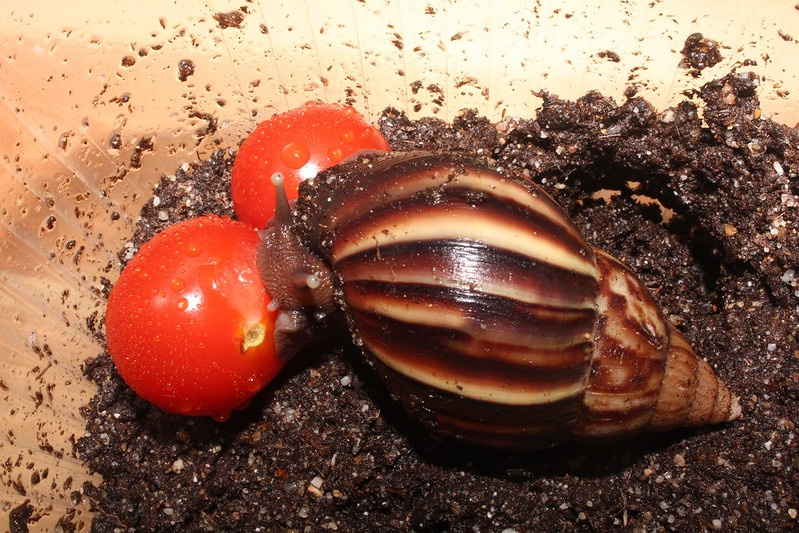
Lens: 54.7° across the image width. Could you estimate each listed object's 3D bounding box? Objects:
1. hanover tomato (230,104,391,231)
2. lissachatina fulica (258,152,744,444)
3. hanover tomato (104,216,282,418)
[{"bbox_3d":[-0.319,-0.403,2.843,0.516,0.409,0.291,6,20,2],"label":"hanover tomato"},{"bbox_3d":[0.206,0.086,2.932,1.276,1.070,1.424,-4,21,-11],"label":"lissachatina fulica"},{"bbox_3d":[-0.728,0.201,2.770,0.530,0.661,0.526,-25,-10,-7],"label":"hanover tomato"}]
